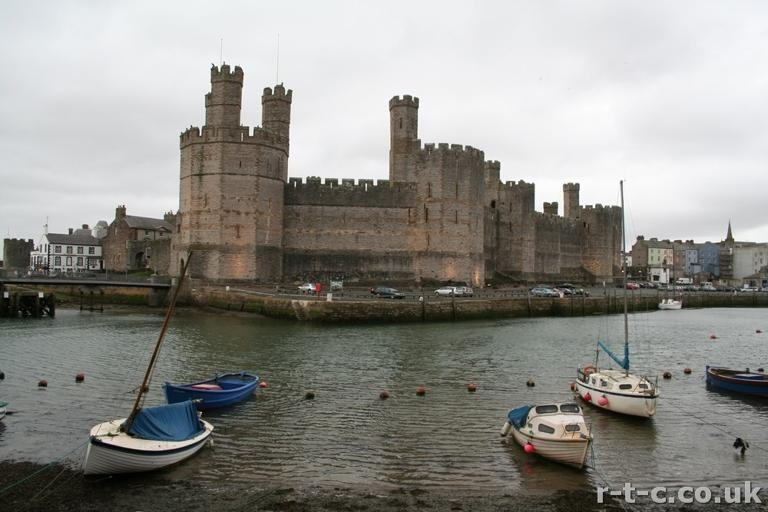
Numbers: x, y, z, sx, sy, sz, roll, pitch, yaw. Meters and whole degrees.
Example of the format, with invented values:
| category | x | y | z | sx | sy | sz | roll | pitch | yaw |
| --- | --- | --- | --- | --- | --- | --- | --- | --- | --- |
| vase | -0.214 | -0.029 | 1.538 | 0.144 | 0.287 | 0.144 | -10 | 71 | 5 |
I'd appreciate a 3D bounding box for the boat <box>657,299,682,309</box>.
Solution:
| category | x | y | z | sx | sy | sz | roll | pitch | yaw |
| --- | --- | --- | --- | --- | --- | --- | --- | --- | --- |
| boat | 26.861 | 4.526 | 84.260 | 2.928 | 0.873 | 0.934 | 8 | -10 | -44 |
